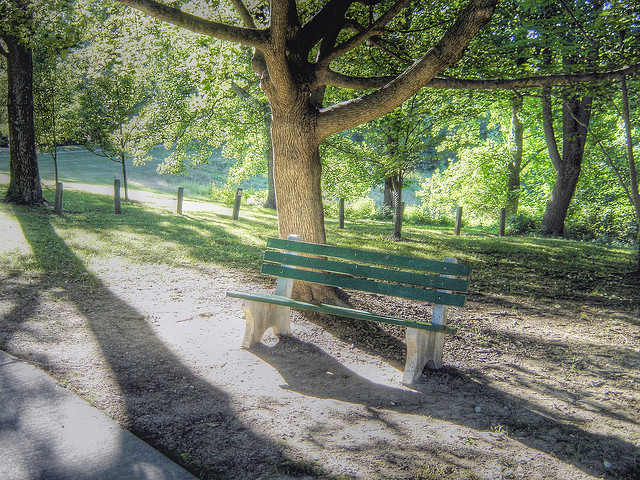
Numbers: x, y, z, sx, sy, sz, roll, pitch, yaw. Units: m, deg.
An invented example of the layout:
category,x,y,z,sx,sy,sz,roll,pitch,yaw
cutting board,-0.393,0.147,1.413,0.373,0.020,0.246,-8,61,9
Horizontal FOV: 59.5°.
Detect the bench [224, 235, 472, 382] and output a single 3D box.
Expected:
category,x,y,z,sx,sy,sz,roll,pitch,yaw
bench,0.606,0.782,8.354,3.048,1.624,2.791,6,7,14
